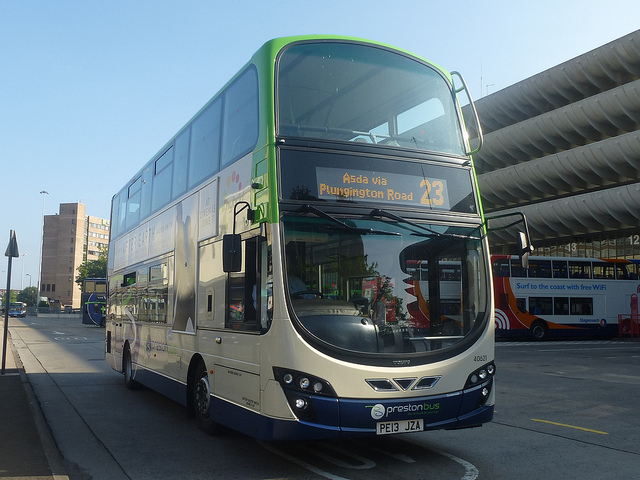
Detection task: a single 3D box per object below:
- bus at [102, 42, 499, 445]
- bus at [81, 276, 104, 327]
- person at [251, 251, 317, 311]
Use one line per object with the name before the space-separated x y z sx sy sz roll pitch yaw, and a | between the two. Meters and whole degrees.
bus | -1.798 0.310 10.081 3.599 5.124 10.574 3 -7 -24
bus | -23.403 6.456 49.228 1.591 5.082 5.746 3 -8 -33
person | -0.344 0.519 5.783 0.449 1.024 0.276 -3 -7 -11
